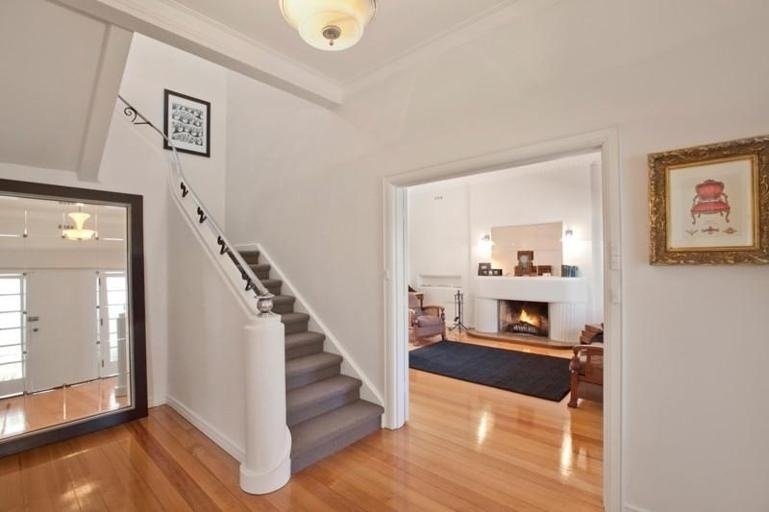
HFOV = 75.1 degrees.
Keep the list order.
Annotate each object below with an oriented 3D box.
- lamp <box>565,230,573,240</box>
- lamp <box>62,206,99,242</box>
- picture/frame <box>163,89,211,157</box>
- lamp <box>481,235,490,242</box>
[{"bbox_3d":[3.276,-0.373,8.904,0.144,0.156,0.141,3,-4,-2],"label":"lamp"},{"bbox_3d":[-3.404,-0.341,5.537,0.344,0.449,0.339,1,6,3],"label":"lamp"},{"bbox_3d":[-2.937,-1.961,7.455,0.164,0.985,0.802,10,17,39],"label":"picture/frame"},{"bbox_3d":[1.983,-0.340,9.848,0.137,0.127,0.080,-4,-22,11],"label":"lamp"}]
